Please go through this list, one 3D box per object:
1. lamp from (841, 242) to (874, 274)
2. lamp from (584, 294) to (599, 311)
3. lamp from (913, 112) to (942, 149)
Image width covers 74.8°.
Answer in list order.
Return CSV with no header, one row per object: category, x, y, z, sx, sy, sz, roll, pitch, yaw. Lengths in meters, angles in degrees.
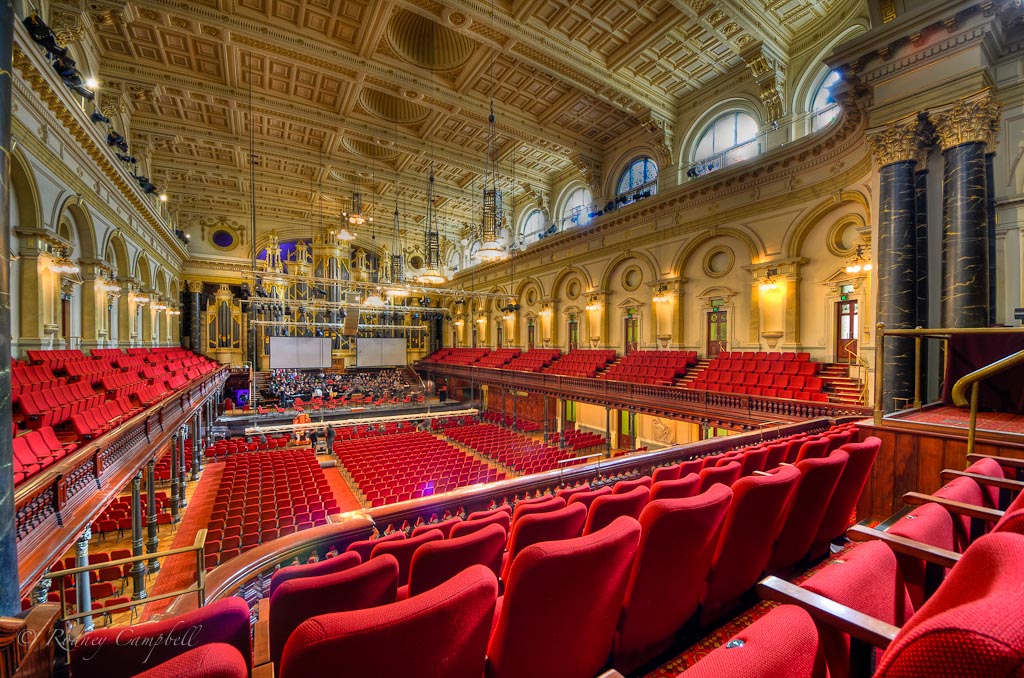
lamp,8.624,-2.024,16.609,0.688,1.050,0.707,3,5,43
lamp,2.913,-1.302,24.047,0.394,0.755,0.752,2,-3,-25
lamp,8.901,-4.485,14.335,0.505,0.806,0.228,0,0,-17
